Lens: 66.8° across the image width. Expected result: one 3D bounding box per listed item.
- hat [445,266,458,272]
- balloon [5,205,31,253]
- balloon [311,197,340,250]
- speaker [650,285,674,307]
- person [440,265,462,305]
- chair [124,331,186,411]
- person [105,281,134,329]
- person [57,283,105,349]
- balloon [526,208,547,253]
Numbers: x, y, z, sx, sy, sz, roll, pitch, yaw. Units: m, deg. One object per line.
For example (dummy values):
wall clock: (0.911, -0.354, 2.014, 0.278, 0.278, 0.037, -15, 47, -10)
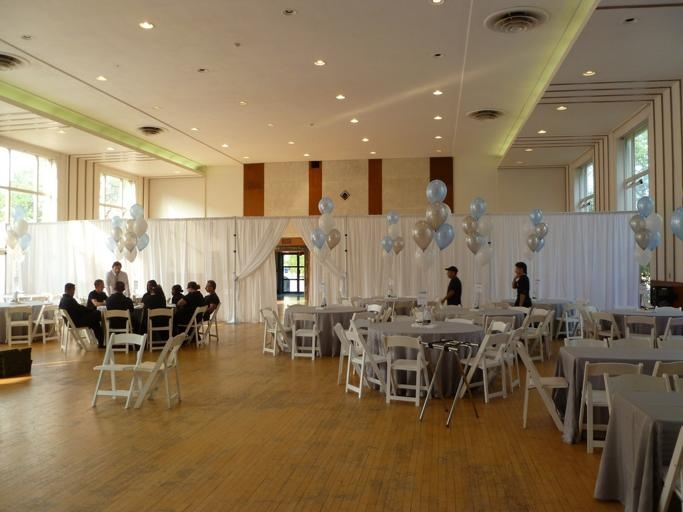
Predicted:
hat: (2.668, 0.315, 12.622, 0.208, 0.137, 0.150, 4, -3, 26)
balloon: (-8.544, -0.644, 13.717, 0.492, 1.216, 1.602, 2, -3, -34)
balloon: (-0.376, -0.793, 12.484, 0.650, 1.177, 1.168, 1, -2, -3)
speaker: (6.783, 0.859, 10.996, 0.364, 0.401, 0.360, -1, -4, 19)
person: (2.510, 0.996, 11.990, 0.432, 1.504, 0.595, 1, 2, 23)
chair: (-2.887, 1.726, 8.007, 0.979, 1.566, 0.973, 1, -4, -5)
person: (-4.810, 1.075, 11.308, 0.559, 0.998, 0.838, 2, -2, -26)
person: (-5.771, 1.362, 11.582, 0.891, 1.446, 0.413, 2, -2, -30)
balloon: (4.863, -0.583, 12.988, 0.577, 1.103, 0.458, 5, -7, 19)
